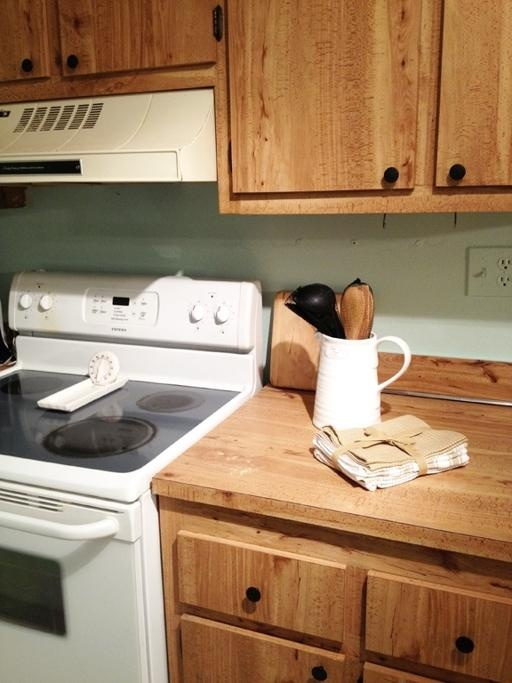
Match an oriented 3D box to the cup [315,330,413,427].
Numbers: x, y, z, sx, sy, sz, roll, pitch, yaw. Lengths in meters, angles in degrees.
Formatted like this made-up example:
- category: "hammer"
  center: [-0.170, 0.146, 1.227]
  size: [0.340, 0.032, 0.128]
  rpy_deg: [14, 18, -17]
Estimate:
- category: "cup"
  center: [0.209, 0.078, 1.125]
  size: [0.184, 0.166, 0.109]
  rpy_deg: [0, 4, 4]
